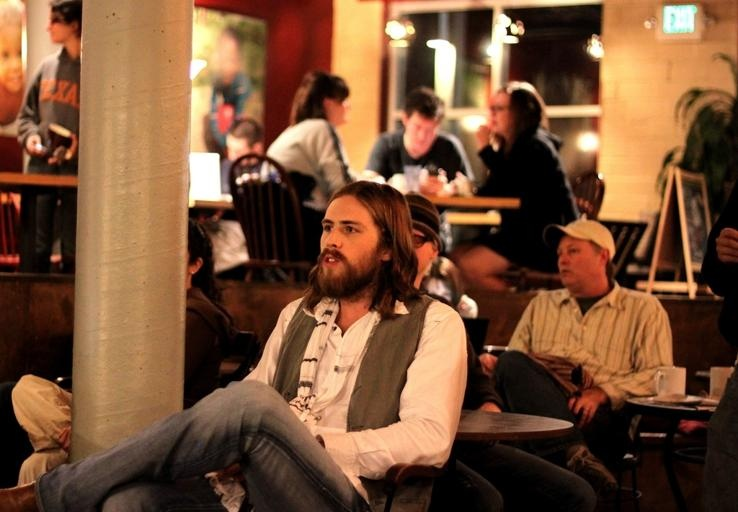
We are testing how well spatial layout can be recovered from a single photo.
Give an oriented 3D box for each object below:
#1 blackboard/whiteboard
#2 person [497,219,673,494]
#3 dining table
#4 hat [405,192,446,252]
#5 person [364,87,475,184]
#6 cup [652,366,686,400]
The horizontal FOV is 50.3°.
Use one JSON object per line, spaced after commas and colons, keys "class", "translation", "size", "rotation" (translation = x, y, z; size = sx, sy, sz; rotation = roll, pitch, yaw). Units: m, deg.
{"class": "blackboard/whiteboard", "translation": [2.177, -0.230, 5.317], "size": [0.059, 0.824, 0.749], "rotation": [-6, -11, 32]}
{"class": "person", "translation": [1.069, 0.487, 4.036], "size": [0.831, 1.405, 0.993], "rotation": [9, -10, 1]}
{"class": "dining table", "translation": [0.906, -0.291, 7.136], "size": [0.789, 0.253, 1.137], "rotation": [-4, -8, 1]}
{"class": "hat", "translation": [0.302, -0.167, 3.808], "size": [0.225, 0.113, 0.259], "rotation": [24, -3, 34]}
{"class": "person", "translation": [0.515, -1.119, 7.977], "size": [1.169, 0.963, 0.671], "rotation": [5, 14, 0]}
{"class": "cup", "translation": [1.457, 0.606, 3.776], "size": [0.129, 0.195, 0.209], "rotation": [3, -24, 18]}
